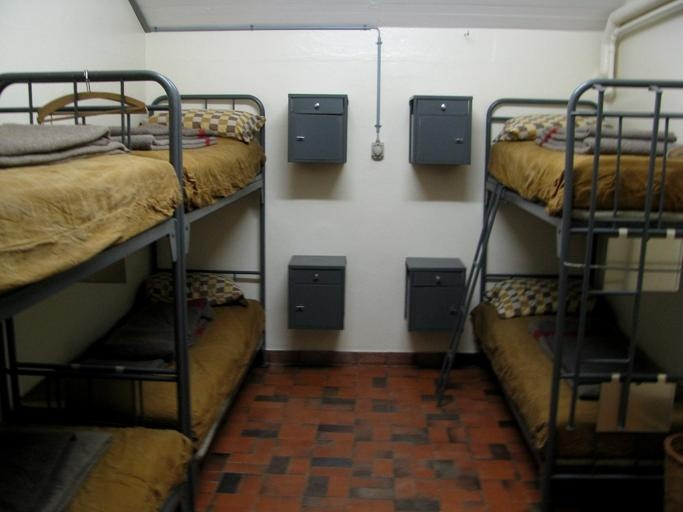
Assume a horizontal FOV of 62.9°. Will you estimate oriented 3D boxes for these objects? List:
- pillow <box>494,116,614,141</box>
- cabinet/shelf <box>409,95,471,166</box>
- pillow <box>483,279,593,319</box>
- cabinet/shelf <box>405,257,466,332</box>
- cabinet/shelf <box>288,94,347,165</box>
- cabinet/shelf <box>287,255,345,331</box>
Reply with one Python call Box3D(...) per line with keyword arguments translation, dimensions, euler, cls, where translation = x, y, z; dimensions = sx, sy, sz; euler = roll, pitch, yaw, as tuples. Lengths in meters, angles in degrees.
Box3D(translation=(1.578, -0.960, 4.231), dimensions=(0.634, 0.158, 0.530), euler=(-2, 10, -7), cls="pillow")
Box3D(translation=(0.804, -1.042, 4.659), dimensions=(0.508, 0.546, 0.313), euler=(1, 11, 3), cls="cabinet/shelf")
Box3D(translation=(1.712, 0.340, 4.786), dimensions=(0.802, 0.192, 0.697), euler=(-1, 16, 6), cls="pillow")
Box3D(translation=(0.809, 0.316, 4.863), dimensions=(0.496, 0.616, 0.452), euler=(3, 23, 14), cls="cabinet/shelf")
Box3D(translation=(-0.258, -1.066, 4.664), dimensions=(0.549, 0.543, 0.332), euler=(-7, 18, -28), cls="cabinet/shelf")
Box3D(translation=(-0.227, 0.295, 4.859), dimensions=(0.475, 0.627, 0.427), euler=(2, 21, 0), cls="cabinet/shelf")
